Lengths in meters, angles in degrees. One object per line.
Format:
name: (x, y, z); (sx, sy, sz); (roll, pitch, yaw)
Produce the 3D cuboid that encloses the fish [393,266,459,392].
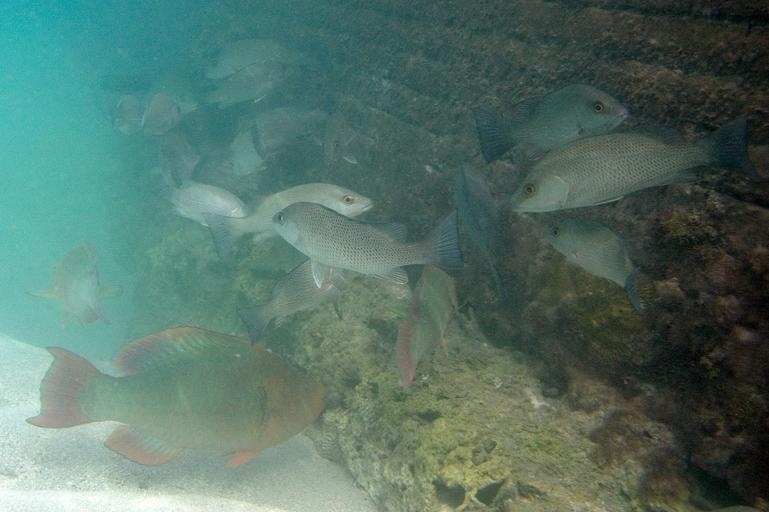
fish: (0.435, 0.788, 8.450); (0.768, 1.251, 0.297); (26, 6, 23)
